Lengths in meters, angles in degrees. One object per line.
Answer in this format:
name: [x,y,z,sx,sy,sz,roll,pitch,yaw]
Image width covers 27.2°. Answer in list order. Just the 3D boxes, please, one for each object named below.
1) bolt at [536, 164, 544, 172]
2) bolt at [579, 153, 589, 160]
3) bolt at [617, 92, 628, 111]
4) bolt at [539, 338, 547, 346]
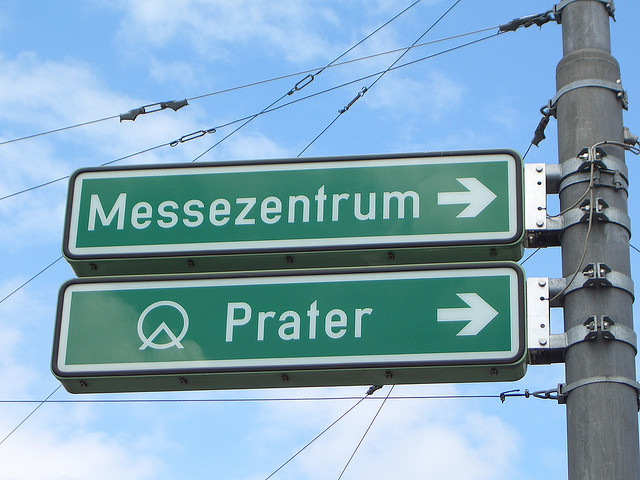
bolt: [1.510,-0.506,9.144,0.051,0.051,0.025,-2,-37,9]
bolt: [1.783,-0.578,8.997,0.047,0.029,0.026,6,-37,6]
bolt: [2.107,-0.985,9.288,0.035,0.129,0.026,-14,-13,-24]
bolt: [1.455,0.664,8.701,0.035,0.021,0.035,-8,-19,-21]
